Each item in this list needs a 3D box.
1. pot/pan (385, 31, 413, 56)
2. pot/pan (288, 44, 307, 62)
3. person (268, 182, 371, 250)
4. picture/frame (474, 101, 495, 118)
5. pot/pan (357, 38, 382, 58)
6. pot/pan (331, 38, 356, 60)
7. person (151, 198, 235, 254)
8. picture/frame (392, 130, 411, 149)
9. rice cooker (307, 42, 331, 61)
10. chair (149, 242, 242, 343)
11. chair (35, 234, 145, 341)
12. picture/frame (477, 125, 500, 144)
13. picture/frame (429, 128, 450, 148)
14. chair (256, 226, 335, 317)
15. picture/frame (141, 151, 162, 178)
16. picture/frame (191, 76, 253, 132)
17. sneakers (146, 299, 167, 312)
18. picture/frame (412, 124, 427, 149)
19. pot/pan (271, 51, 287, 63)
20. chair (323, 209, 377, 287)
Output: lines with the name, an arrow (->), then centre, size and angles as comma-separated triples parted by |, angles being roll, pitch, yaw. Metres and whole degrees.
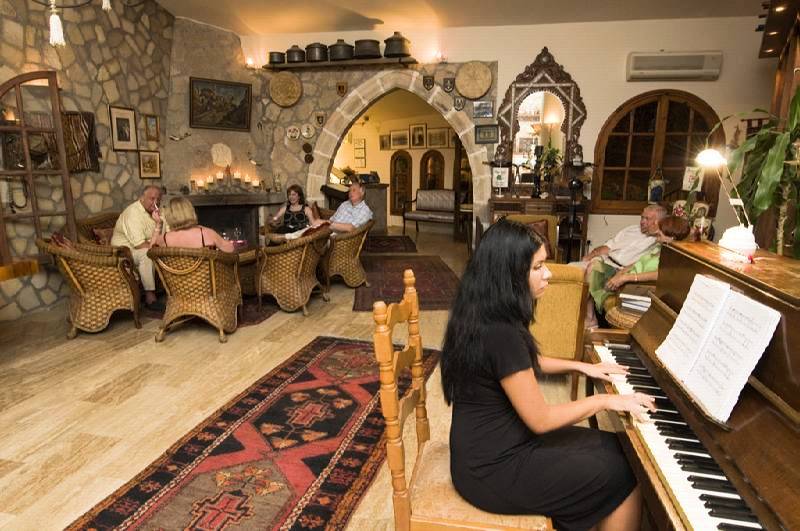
pot/pan -> -0.024, -3.352, 7.270 | 0.383, 0.307, 0.394 | 2, 14, 4
pot/pan -> -1.629, -3.355, 7.616 | 0.271, 0.237, 0.274 | 0, -1, -2
person -> -1.073, -0.667, 6.364 | 1.498, 0.819, 0.889 | -6, 18, -29
picture/frame -> 1.366, -2.516, 7.660 | 0.253, 0.216, 0.038 | 0, 17, 6
pot/pan -> -0.482, -3.339, 7.425 | 0.297, 0.177, 0.300 | 1, 7, 1
pot/pan -> -0.903, -3.332, 7.413 | 0.329, 0.250, 0.333 | -1, -1, -2
person -> -2.186, -0.354, 4.966 | 0.890, 0.682, 0.482 | -9, 28, -27
picture/frame -> 0.061, -3.304, 12.462 | 0.506, 0.432, 0.024 | 11, 27, 33
rice cooker -> -1.291, -3.360, 7.537 | 0.300, 0.227, 0.302 | -1, 0, -4
chair -> -2.030, 0.265, 4.833 | 0.706, 0.974, 0.470 | 2, 14, 5
chair -> -3.209, 0.161, 5.130 | 1.058, 1.041, 0.895 | -4, 12, -34
picture/frame -> 1.439, -2.128, 7.708 | 0.294, 0.254, 0.106 | 1, 6, 10
picture/frame -> 0.979, -3.130, 11.680 | 0.510, 0.393, 0.037 | 1, 6, 35
chair -> -1.210, 0.024, 5.916 | 0.945, 1.129, 0.926 | 9, 13, 25
picture/frame -> -3.587, -1.453, 6.878 | 0.029, 0.417, 0.411 | 1, 5, 21
picture/frame -> -2.855, -2.564, 7.570 | 1.003, 0.727, 0.068 | -10, 20, -43
sneakers -> -2.879, 0.490, 5.679 | 0.262, 0.099, 0.140 | -1, 5, 17
picture/frame -> 0.508, -3.274, 12.070 | 0.558, 0.641, 0.034 | 14, 30, 34
pot/pan -> -1.965, -3.346, 7.742 | 0.199, 0.128, 0.203 | 3, 4, 12
chair -> -0.734, -0.237, 6.589 | 0.796, 1.048, 0.951 | 2, 6, -6
